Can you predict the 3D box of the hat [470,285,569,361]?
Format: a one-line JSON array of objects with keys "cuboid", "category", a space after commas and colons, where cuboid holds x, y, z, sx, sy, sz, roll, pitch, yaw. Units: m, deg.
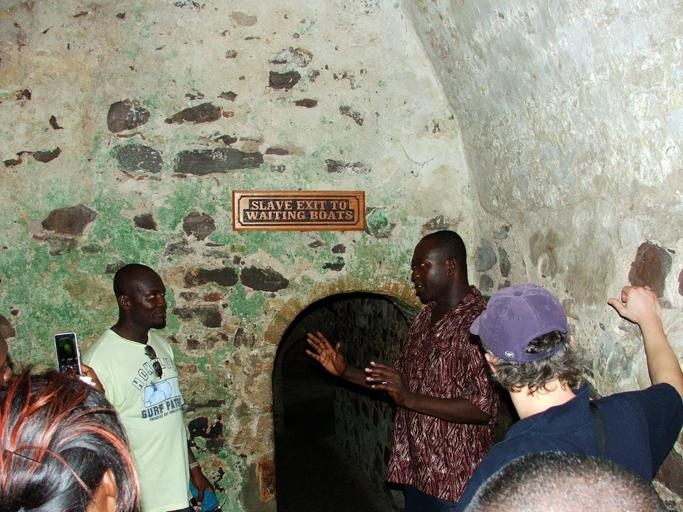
[{"cuboid": [0.541, 0.203, 1.940, 0.194, 0.152, 0.265, -14, 25, -1], "category": "hat"}]
